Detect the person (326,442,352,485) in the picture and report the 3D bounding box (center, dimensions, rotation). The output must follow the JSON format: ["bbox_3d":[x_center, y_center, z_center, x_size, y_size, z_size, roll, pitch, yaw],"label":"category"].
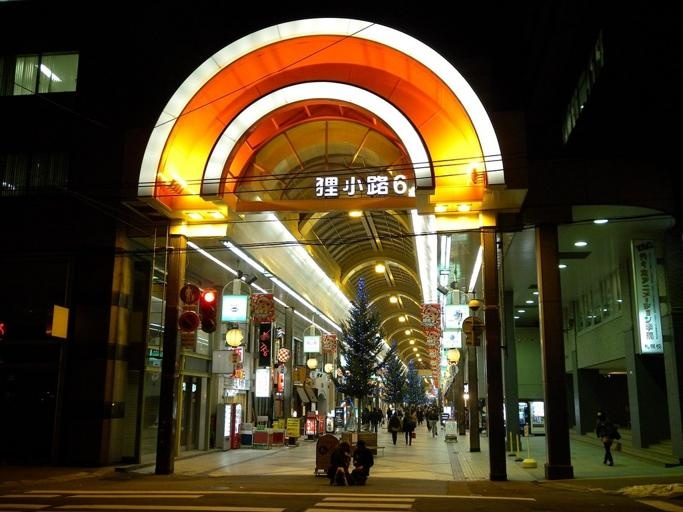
[{"bbox_3d":[-0.073,6.569,18.252,0.696,1.273,0.849,1,-17,-11],"label":"person"}]

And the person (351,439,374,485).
[{"bbox_3d":[0.649,6.741,18.908,0.692,1.328,1.532,-3,-17,2],"label":"person"}]
